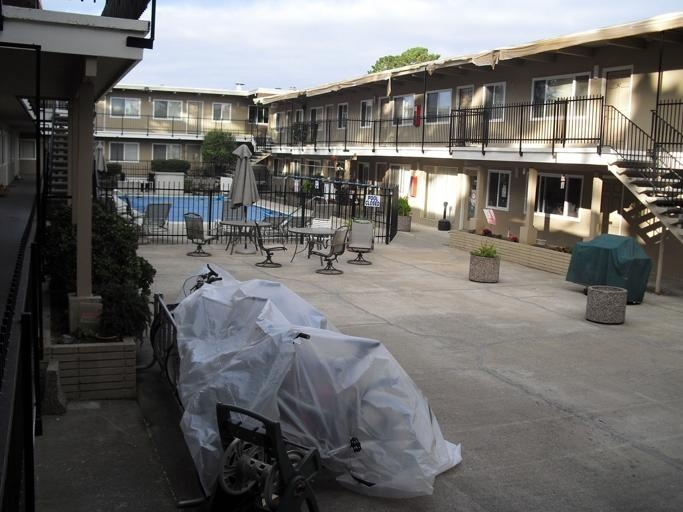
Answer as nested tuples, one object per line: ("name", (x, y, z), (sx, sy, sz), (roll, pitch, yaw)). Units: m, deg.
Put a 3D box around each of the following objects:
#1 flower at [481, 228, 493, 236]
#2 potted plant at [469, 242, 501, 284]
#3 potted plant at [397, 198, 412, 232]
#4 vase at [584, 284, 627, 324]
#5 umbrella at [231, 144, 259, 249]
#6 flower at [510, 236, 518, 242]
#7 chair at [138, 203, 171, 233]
("flower", (5.657, -0.958, 20.016), (0.402, 0.395, 0.426), (0, 9, -14))
("potted plant", (4.207, 0.166, 15.034), (0.932, 1.163, 0.998), (2, 6, 1))
("potted plant", (2.965, -1.961, 24.281), (0.552, 1.501, 0.596), (3, 5, 13))
("vase", (5.855, 1.006, 11.449), (0.811, 0.815, 0.874), (-1, 8, -2))
("umbrella", (-3.356, -2.705, 17.837), (0.923, 2.403, 1.143), (0, 5, -12))
("flower", (6.339, -0.641, 18.913), (0.246, 0.124, 0.265), (2, 10, 0))
("chair", (-7.390, -1.513, 20.656), (0.916, 1.267, 3.399), (0, 6, -20))
